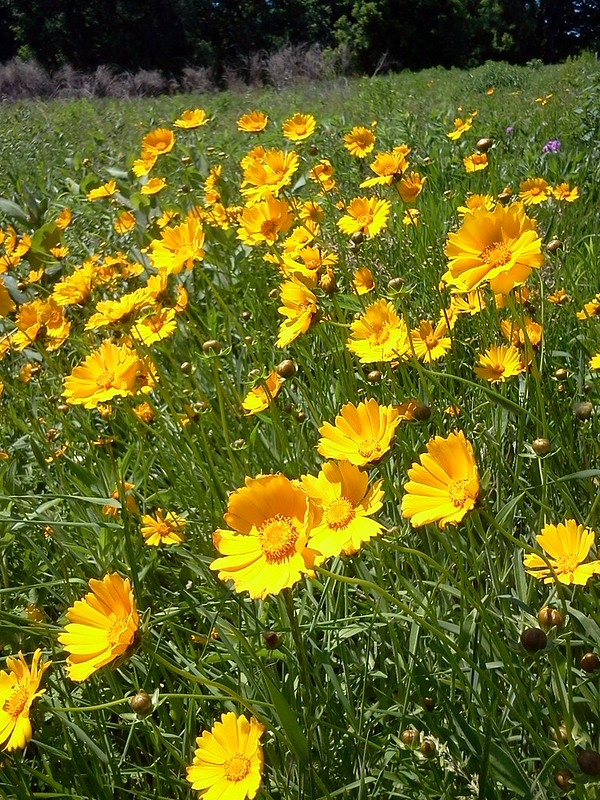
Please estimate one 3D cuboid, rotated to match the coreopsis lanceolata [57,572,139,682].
[{"bbox_3d":[-0.225,0.270,0.766,0.109,0.047,0.105,-19,42,25],"label":"coreopsis lanceolata"}]
